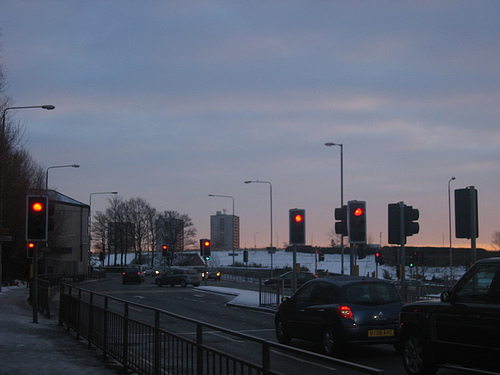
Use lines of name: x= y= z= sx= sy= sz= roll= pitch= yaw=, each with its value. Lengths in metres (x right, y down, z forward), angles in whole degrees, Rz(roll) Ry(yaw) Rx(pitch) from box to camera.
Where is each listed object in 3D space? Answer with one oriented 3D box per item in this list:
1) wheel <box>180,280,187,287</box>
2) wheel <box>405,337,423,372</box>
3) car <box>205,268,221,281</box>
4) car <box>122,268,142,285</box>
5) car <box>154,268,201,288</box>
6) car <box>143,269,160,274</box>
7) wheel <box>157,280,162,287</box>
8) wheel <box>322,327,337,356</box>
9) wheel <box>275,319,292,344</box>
wheel: x=-4.880 y=6.938 z=58.559 sx=0.184 sy=0.532 sz=0.552 roll=1 pitch=-4 yaw=-43
wheel: x=3.993 y=4.053 z=19.488 sx=0.137 sy=0.815 sz=0.521 roll=6 pitch=-9 yaw=-44
car: x=-3.574 y=8.140 z=75.981 sx=1.260 sy=0.982 sz=2.031 roll=1 pitch=1 yaw=-9
car: x=-9.634 y=7.148 z=65.023 sx=1.605 sy=1.322 sz=1.283 roll=1 pitch=-7 yaw=-17
car: x=-5.342 y=6.642 z=59.282 sx=2.734 sy=1.026 sz=1.487 roll=1 pitch=-2 yaw=32
car: x=-12.918 y=10.786 z=104.126 sx=1.542 sy=0.720 sz=2.448 roll=4 pitch=-11 yaw=-24
wheel: x=-6.732 y=7.055 z=59.270 sx=0.325 sy=0.477 sz=0.600 roll=0 pitch=-7 yaw=-7
wheel: x=2.194 y=4.235 z=22.102 sx=0.201 sy=0.785 sz=0.640 roll=2 pitch=-7 yaw=-22
wheel: x=1.028 y=4.330 z=24.165 sx=0.319 sy=0.732 sz=1.023 roll=1 pitch=-7 yaw=-11
